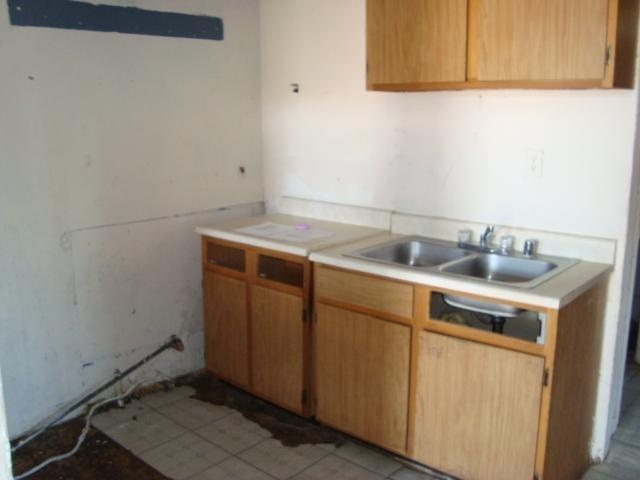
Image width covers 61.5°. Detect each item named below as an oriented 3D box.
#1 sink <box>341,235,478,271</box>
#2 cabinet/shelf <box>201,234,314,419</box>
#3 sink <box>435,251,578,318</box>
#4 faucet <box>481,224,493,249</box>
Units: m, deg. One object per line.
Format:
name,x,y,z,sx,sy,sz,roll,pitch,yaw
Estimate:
sink,0.583,0.074,3.065,0.302,0.128,0.354,-16,19,-41
cabinet/shelf,-0.262,0.447,3.539,0.890,1.047,0.573,12,17,36
sink,1.002,0.154,2.767,0.451,0.122,0.408,5,17,43
faucet,0.935,-0.024,3.000,0.068,0.117,0.114,7,20,20
